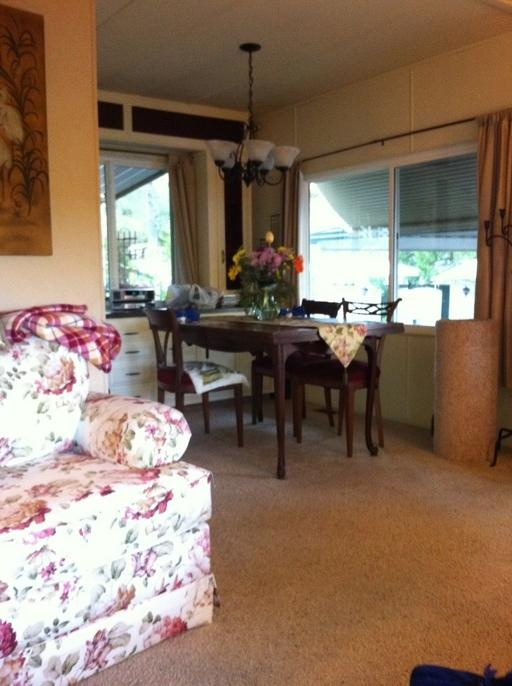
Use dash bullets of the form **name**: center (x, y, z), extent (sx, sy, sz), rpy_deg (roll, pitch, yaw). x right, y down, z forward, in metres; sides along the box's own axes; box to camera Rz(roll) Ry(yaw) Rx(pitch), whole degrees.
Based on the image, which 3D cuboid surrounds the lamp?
- **lamp**: center (-0.043, -1.427, 3.359), extent (0.562, 0.870, 0.619), rpy_deg (3, 9, 6)

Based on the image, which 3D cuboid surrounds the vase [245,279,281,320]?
- **vase**: center (0.053, -0.284, 3.371), extent (0.211, 0.217, 0.216), rpy_deg (1, 0, 9)

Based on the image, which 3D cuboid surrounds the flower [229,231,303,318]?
- **flower**: center (0.068, -0.433, 3.443), extent (0.443, 0.579, 0.517), rpy_deg (3, 4, 27)
